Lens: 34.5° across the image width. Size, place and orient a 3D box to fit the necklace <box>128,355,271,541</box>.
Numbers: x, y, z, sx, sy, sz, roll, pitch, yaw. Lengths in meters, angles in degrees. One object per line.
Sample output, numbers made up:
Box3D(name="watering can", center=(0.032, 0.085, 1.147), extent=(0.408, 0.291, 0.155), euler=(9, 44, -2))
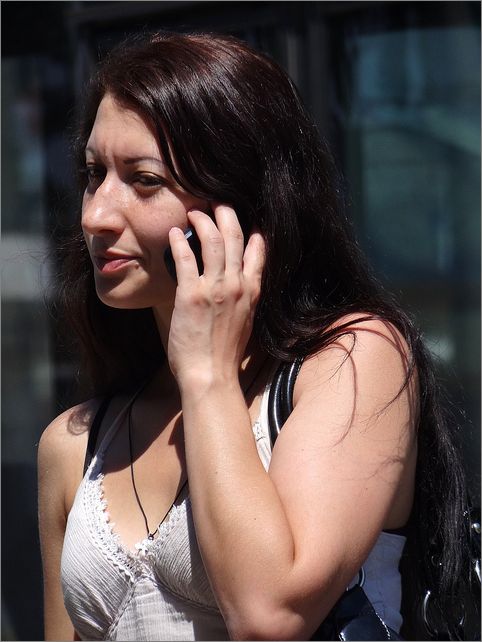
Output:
Box3D(name="necklace", center=(-0.168, 0.306, 1.961), extent=(0.285, 0.122, 0.471), euler=(22, 92, 37))
